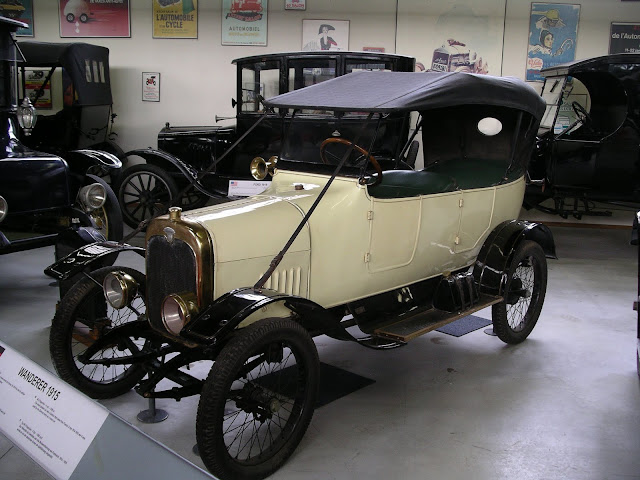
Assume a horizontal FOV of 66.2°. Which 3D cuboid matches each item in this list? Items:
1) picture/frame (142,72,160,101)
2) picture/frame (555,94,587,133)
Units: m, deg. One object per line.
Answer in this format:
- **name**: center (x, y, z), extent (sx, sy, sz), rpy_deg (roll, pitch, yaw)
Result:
- **picture/frame**: center (-2.540, -2.330, 7.375), extent (0.346, 0.533, 0.019), rpy_deg (2, 9, 4)
- **picture/frame**: center (3.252, -1.643, 6.409), extent (0.460, 0.475, 0.115), rpy_deg (0, 12, -6)
